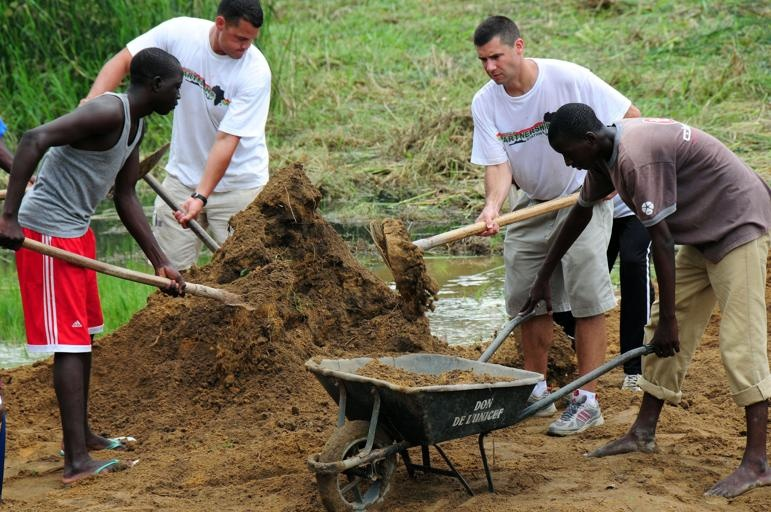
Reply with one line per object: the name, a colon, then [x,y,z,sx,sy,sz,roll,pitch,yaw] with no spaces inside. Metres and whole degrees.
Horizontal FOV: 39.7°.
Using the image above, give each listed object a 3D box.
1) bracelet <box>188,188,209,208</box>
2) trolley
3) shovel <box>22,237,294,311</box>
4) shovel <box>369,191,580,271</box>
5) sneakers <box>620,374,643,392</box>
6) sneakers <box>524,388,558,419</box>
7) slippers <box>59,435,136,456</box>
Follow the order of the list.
bracelet: [-1.632,-0.472,9.454,0.183,0.127,0.173,8,-22,49]
trolley: [0.482,1.190,8.200,2.176,0.976,1.252,-3,9,-38]
shovel: [-1.891,0.173,9.057,1.487,0.161,0.203,23,13,-29]
shovel: [0.878,-0.197,10.361,1.384,0.392,0.367,-24,10,0]
sneakers: [2.153,1.111,9.294,0.107,0.148,0.331,1,-5,5]
sneakers: [1.320,1.276,9.028,0.149,0.237,0.464,1,0,17]
slippers: [-2.367,1.517,8.673,0.624,0.102,0.233,-2,12,-12]
